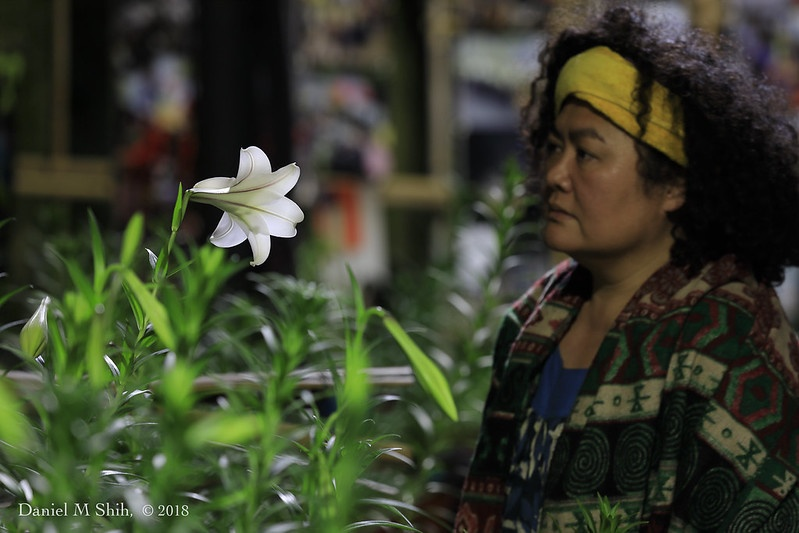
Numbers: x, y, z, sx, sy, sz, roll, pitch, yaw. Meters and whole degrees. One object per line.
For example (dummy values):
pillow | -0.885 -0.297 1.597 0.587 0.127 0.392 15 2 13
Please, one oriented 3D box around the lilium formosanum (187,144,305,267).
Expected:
lilium formosanum | -0.273 -0.116 2.123 0.207 0.215 0.125 9 0 18
